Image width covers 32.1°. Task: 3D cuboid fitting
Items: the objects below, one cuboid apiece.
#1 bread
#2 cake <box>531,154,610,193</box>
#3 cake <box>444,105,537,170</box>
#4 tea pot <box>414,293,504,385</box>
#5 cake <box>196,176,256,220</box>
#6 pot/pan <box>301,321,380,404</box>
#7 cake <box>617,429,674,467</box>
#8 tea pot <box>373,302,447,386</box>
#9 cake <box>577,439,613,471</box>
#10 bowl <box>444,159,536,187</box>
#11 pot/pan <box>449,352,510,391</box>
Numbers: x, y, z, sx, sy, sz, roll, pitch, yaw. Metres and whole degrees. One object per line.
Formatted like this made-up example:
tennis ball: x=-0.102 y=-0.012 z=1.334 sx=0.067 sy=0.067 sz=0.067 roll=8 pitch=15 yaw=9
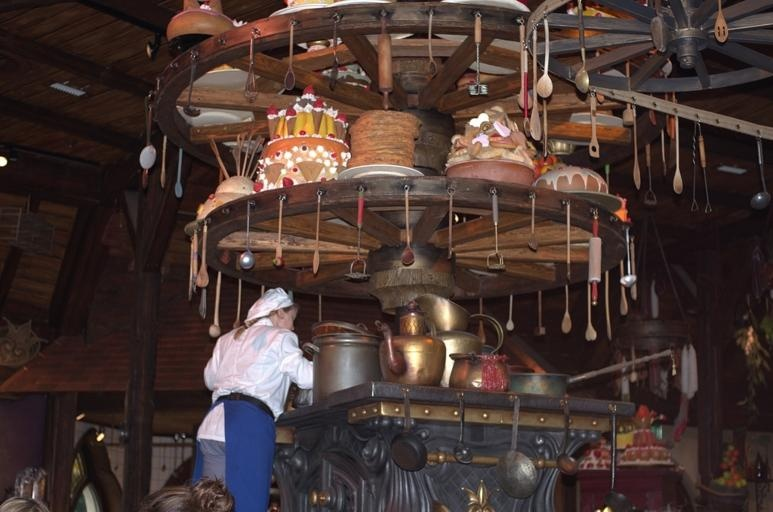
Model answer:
bread: x=-0.008 y=-1.085 z=12.815 sx=0.633 sy=0.542 sz=0.480 roll=-1 pitch=-3 yaw=6
cake: x=1.816 y=-0.748 z=12.984 sx=0.690 sy=0.370 sz=0.665 roll=4 pitch=-1 yaw=27
cake: x=0.991 y=-1.076 z=12.625 sx=0.703 sy=0.582 sz=0.469 roll=1 pitch=-3 yaw=22
tea pot: x=0.620 y=0.830 z=12.905 sx=0.739 sy=0.904 sz=0.689 roll=3 pitch=1 yaw=0
cake: x=-1.574 y=-0.576 z=13.015 sx=0.635 sy=0.472 sz=0.491 roll=-3 pitch=2 yaw=-14
pot/pan: x=-0.401 y=0.955 z=12.725 sx=0.991 sy=0.776 sz=0.654 roll=1 pitch=-17 yaw=-4
cake: x=3.380 y=2.488 z=17.545 sx=0.767 sy=0.596 sz=0.741 roll=-10 pitch=-25 yaw=22
tea pot: x=0.253 y=0.799 z=12.389 sx=0.530 sy=0.736 sz=0.554 roll=0 pitch=-2 yaw=0
cake: x=2.849 y=2.664 z=18.157 sx=0.435 sy=0.481 sz=0.411 roll=0 pitch=-23 yaw=1
bowl: x=0.990 y=-0.768 z=12.572 sx=0.828 sy=0.201 sz=0.170 roll=0 pitch=-23 yaw=0
pot/pan: x=0.898 y=1.128 z=12.697 sx=0.610 sy=0.373 sz=0.626 roll=-4 pitch=-13 yaw=32
